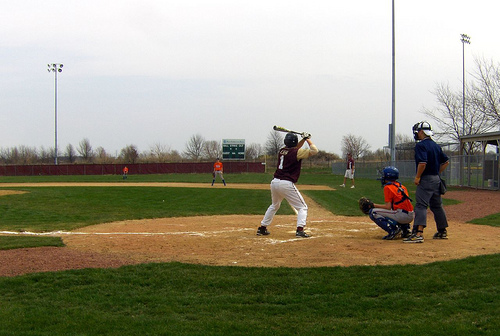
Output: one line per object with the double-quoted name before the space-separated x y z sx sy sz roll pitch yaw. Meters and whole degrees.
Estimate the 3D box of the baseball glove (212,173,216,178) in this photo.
"baseball glove" -2.186 0.435 38.443 0.130 0.111 0.431 -12 11 3

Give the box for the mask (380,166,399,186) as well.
"mask" 3.378 0.207 15.652 0.405 0.522 0.550 2 13 11

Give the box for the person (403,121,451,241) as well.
"person" 4.225 0.370 14.925 0.797 2.776 0.900 3 13 17

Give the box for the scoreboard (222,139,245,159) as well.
"scoreboard" -1.499 -1.872 64.373 2.436 2.115 1.294 0 -1 21

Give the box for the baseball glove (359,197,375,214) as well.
"baseball glove" 2.849 0.927 15.806 0.410 0.401 0.313 4 8 0
